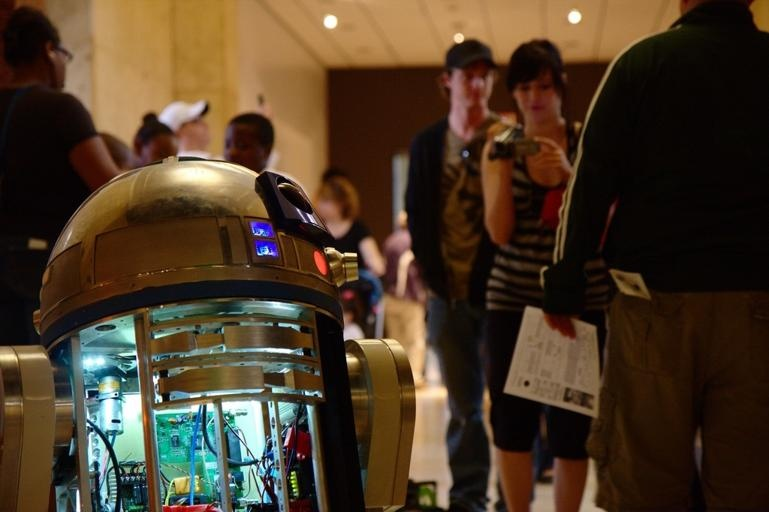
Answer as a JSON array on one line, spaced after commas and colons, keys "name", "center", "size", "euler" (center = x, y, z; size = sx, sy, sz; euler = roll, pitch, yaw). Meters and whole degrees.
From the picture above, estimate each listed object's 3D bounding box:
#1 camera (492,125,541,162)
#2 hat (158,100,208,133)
[{"name": "camera", "center": [0.452, -0.378, 2.429], "size": [0.121, 0.058, 0.123], "euler": [-39, 39, -4]}, {"name": "hat", "center": [-0.891, -0.628, 3.131], "size": [0.217, 0.077, 0.138], "euler": [-19, 19, 18]}]
